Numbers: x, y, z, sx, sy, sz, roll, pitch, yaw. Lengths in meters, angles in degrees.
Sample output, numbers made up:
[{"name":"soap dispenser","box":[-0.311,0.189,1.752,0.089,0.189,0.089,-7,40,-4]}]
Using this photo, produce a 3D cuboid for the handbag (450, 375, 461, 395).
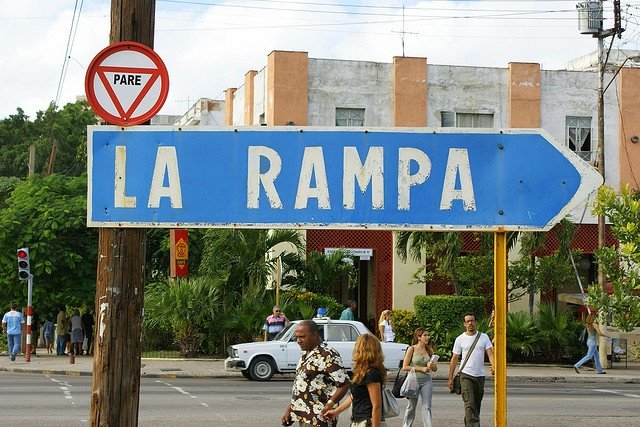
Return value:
[{"name":"handbag","box":[4.158,5.196,37.549,0.210,0.605,0.357,-1,-4,-19]}]

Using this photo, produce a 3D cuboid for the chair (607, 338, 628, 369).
[{"name":"chair","box":[12.633,5.982,52.283,0.728,1.383,0.686,-1,5,15]}]

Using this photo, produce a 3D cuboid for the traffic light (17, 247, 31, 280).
[{"name":"traffic light","box":[-11.821,2.063,49.786,0.488,1.233,0.990,-1,-4,-13]}]
